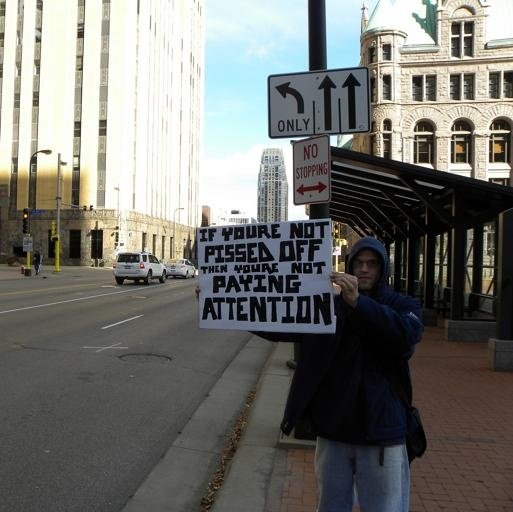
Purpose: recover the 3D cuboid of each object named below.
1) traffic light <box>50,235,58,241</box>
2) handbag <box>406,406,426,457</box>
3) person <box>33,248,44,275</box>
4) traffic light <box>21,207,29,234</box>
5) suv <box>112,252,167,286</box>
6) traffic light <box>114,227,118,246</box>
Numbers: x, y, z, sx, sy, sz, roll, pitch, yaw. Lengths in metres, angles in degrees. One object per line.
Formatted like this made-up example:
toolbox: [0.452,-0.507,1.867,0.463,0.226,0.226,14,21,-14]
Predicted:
traffic light: [-13.995,-1.263,43.832,0.396,0.410,1.029,1,3,-24]
handbag: [0.868,0.955,3.438,0.074,0.251,0.218,1,-7,8]
person: [-13.874,0.445,39.952,0.357,1.315,2.320,1,3,-21]
traffic light: [-13.343,-2.030,36.456,0.316,1.409,0.853,1,2,-16]
suv: [-5.910,0.561,32.430,1.116,1.231,2.771,-1,2,14]
traffic light: [-12.329,-1.743,55.797,0.643,1.646,0.277,3,2,44]
